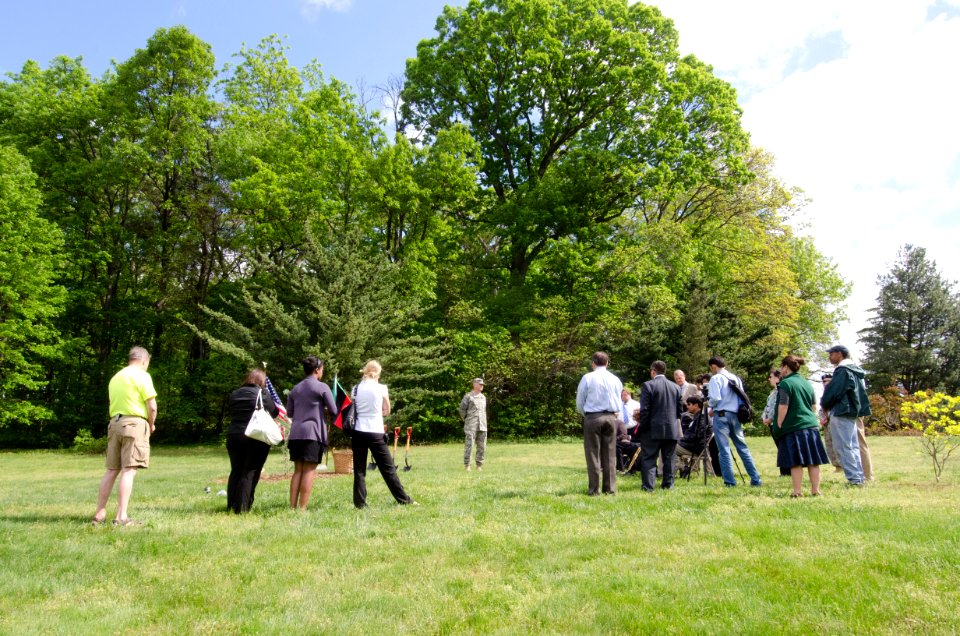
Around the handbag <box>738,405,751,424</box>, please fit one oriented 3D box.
[{"bbox_3d":[6.251,2.263,18.908,0.277,0.382,0.365,-8,-11,-18],"label":"handbag"}]

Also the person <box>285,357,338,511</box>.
[{"bbox_3d":[-3.638,2.543,17.342,1.042,3.260,0.841,-3,8,-15],"label":"person"}]

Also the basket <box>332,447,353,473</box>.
[{"bbox_3d":[-3.893,4.034,23.016,0.827,0.726,0.842,1,-11,-11],"label":"basket"}]

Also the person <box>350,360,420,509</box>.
[{"bbox_3d":[-2.243,2.571,17.522,1.162,3.159,1.221,0,8,3],"label":"person"}]

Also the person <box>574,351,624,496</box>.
[{"bbox_3d":[2.660,2.411,18.145,0.907,3.211,0.903,0,8,7],"label":"person"}]

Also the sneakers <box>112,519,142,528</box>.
[{"bbox_3d":[-7.025,4.061,15.979,0.546,0.240,0.200,4,-4,-11],"label":"sneakers"}]

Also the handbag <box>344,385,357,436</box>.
[{"bbox_3d":[-2.800,2.030,17.415,0.275,1.029,0.419,-2,8,-10],"label":"handbag"}]

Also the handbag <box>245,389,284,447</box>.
[{"bbox_3d":[-4.616,2.131,17.064,0.928,1.213,0.504,16,-30,-43],"label":"handbag"}]

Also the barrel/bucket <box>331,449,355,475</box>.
[{"bbox_3d":[-3.911,4.044,22.989,0.822,0.664,0.832,-1,-12,0],"label":"barrel/bucket"}]

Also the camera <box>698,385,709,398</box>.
[{"bbox_3d":[5.781,1.902,20.877,0.270,0.283,0.253,-3,-5,21],"label":"camera"}]

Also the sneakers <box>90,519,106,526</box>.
[{"bbox_3d":[-7.606,4.056,16.021,0.256,0.093,0.407,-4,7,-24],"label":"sneakers"}]
